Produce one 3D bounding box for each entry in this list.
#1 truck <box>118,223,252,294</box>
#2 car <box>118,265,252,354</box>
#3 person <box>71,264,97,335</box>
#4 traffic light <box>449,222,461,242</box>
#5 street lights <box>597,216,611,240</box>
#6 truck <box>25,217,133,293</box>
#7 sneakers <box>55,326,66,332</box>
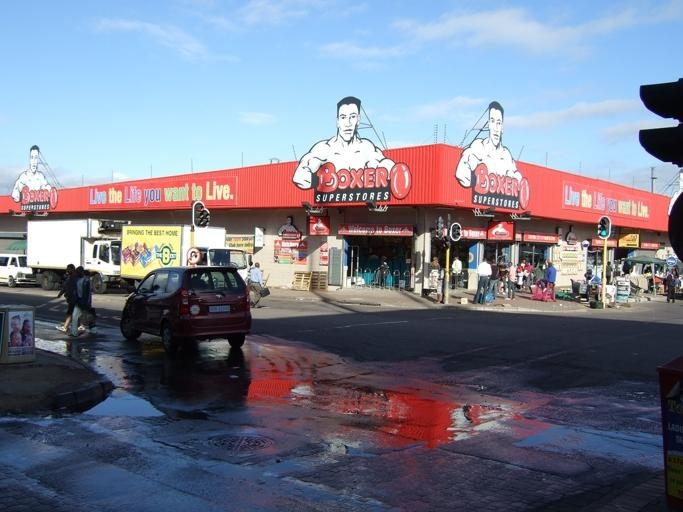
[{"bbox_3d":[-6.990,0.118,26.827,6.689,3.073,2.933,1,0,38],"label":"truck"},{"bbox_3d":[-3.698,1.176,13.463,2.934,1.890,1.338,-1,-1,33],"label":"car"},{"bbox_3d":[-6.685,1.145,15.032,0.543,1.788,0.842,0,-1,-35],"label":"person"},{"bbox_3d":[5.062,-1.122,26.067,0.522,0.737,0.772,-1,-1,7],"label":"traffic light"},{"bbox_3d":[11.752,-1.275,25.903,0.443,1.051,0.928,-1,-1,17],"label":"street lights"},{"bbox_3d":[-14.223,0.035,31.748,7.306,3.650,2.626,1,-1,31],"label":"truck"},{"bbox_3d":[-7.773,2.021,16.048,0.373,0.147,0.134,11,3,43],"label":"sneakers"}]
